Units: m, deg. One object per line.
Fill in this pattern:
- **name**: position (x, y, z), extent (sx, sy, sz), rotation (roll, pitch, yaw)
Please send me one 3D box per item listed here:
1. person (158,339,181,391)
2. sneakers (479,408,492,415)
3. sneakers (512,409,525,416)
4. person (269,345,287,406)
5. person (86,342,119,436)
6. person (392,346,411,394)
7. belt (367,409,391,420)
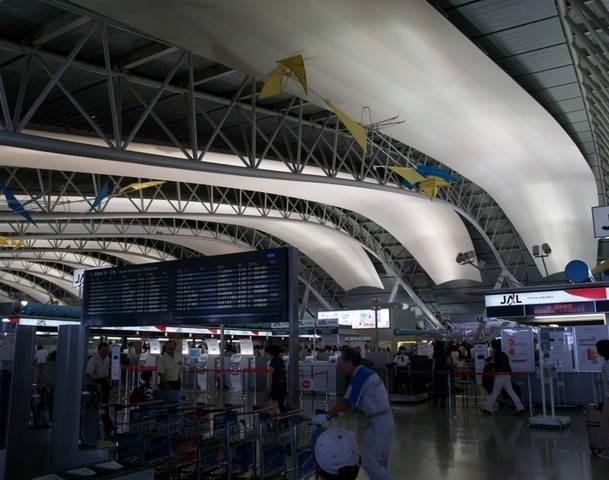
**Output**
- **person**: position (-2.697, 2.514, 10.233), extent (0.416, 0.963, 1.348), rotation (1, -14, -15)
- **sneakers**: position (4.791, 4.522, 13.440), extent (0.105, 0.235, 0.331), rotation (5, -3, -15)
- **sneakers**: position (5.635, 4.508, 13.359), extent (0.142, 0.209, 0.467), rotation (-1, -5, -4)
- **person**: position (-0.580, 2.997, 11.254), extent (0.373, 1.310, 1.202), rotation (-1, -13, -4)
- **person**: position (-4.146, 3.055, 10.329), extent (0.462, 1.943, 0.630), rotation (-27, -34, 17)
- **person**: position (3.277, 4.361, 17.193), extent (0.600, 1.529, 1.111), rotation (-4, -13, 7)
- **belt**: position (0.920, 2.117, 6.188), extent (0.174, 0.043, 0.171), rotation (-24, -11, 13)
